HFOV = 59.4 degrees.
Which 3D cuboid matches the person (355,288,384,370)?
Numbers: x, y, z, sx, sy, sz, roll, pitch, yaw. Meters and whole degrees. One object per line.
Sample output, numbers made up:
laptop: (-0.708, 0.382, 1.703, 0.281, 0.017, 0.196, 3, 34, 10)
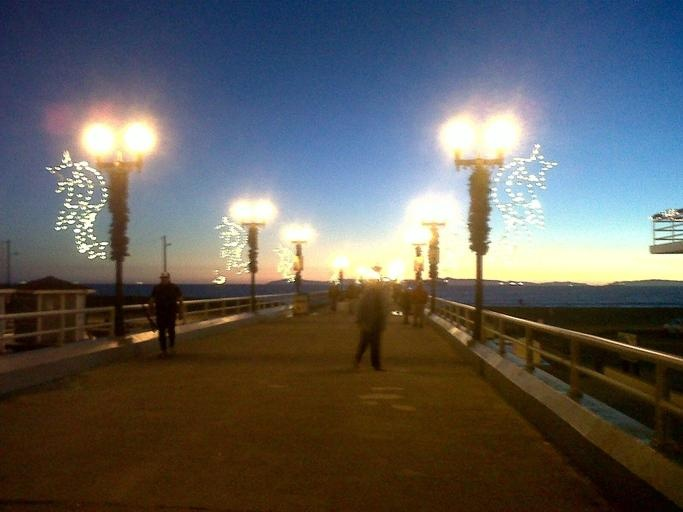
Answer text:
person: (0.645, 1.635, 13.993, 0.692, 1.996, 0.642, -3, -2, 14)
